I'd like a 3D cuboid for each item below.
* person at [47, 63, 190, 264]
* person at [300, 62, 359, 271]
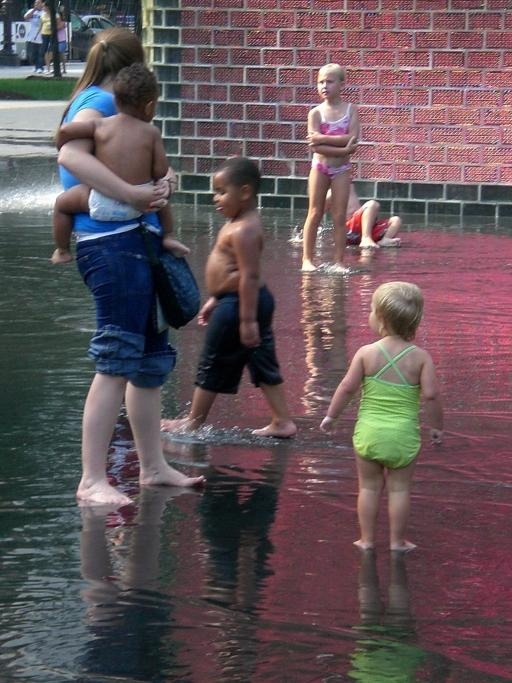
[{"bbox_3d":[-0.461,-0.590,3.184,0.469,0.683,0.279,2,15,-5],"label":"person"},{"bbox_3d":[0.644,-1.429,8.413,0.437,1.574,0.633,4,15,3],"label":"person"}]
